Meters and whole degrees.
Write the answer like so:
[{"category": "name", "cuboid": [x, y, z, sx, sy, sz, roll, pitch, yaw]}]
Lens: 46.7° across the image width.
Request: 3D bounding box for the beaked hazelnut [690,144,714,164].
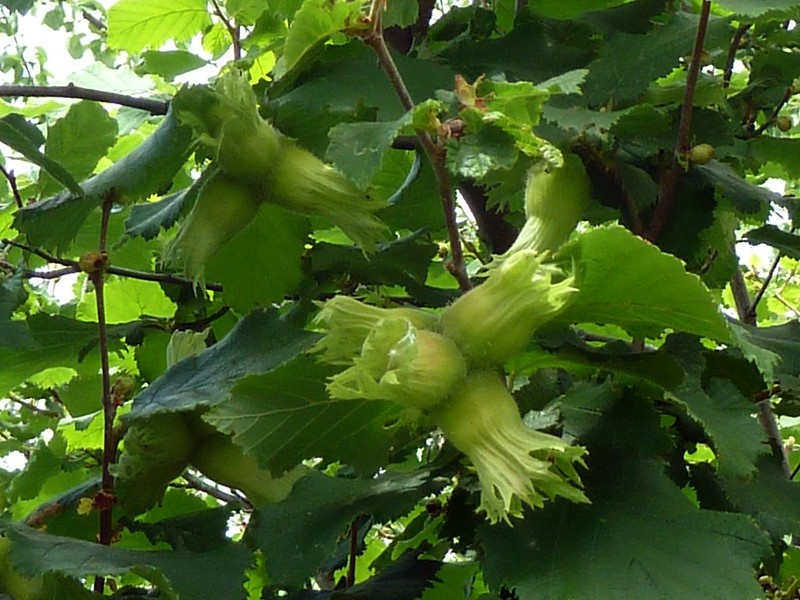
[{"category": "beaked hazelnut", "cuboid": [0.459, -0.222, 1.419, 0.029, 0.035, 0.020, -2, -91, 16]}]
